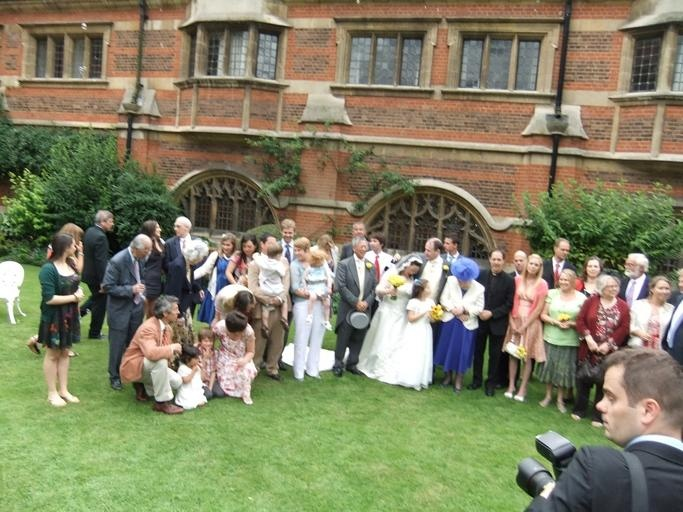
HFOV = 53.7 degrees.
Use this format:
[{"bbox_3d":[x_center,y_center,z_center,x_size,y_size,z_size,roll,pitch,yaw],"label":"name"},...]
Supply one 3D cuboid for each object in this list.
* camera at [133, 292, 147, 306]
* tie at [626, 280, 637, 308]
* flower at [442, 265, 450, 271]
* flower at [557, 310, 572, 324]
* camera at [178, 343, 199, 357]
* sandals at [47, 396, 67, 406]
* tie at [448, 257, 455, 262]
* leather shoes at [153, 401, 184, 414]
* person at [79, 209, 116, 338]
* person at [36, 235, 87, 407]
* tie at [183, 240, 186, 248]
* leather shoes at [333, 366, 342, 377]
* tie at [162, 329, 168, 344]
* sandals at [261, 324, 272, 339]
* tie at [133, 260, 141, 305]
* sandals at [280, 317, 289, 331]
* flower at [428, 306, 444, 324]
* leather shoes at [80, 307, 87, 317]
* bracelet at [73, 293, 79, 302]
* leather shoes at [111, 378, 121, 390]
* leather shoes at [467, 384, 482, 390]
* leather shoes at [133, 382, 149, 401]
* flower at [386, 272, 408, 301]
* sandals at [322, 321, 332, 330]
[{"bbox_3d":[-3.265,0.687,10.872,0.075,0.171,0.195,2,-38,36],"label":"camera"},{"bbox_3d":[5.005,0.623,11.634,0.167,0.406,0.252,5,4,28],"label":"tie"},{"bbox_3d":[1.928,0.234,12.359,0.083,0.053,0.090,-5,41,-13],"label":"flower"},{"bbox_3d":[3.797,1.046,11.473,0.158,0.073,0.164,-8,15,-26],"label":"flower"},{"bbox_3d":[-2.385,1.497,10.625,0.270,0.195,0.178,3,3,-12],"label":"camera"},{"bbox_3d":[-4.263,2.176,10.149,0.302,0.151,0.112,-2,23,25],"label":"sandals"},{"bbox_3d":[2.048,0.056,12.534,0.090,0.104,0.036,-5,-23,20],"label":"tie"},{"bbox_3d":[-2.643,2.326,10.252,0.476,0.241,0.184,3,7,-4],"label":"leather shoes"},{"bbox_3d":[-4.582,0.387,12.713,0.836,2.512,0.752,5,11,-15],"label":"person"},{"bbox_3d":[-4.232,0.960,10.120,0.598,2.569,0.410,1,4,-30],"label":"person"},{"bbox_3d":[-2.855,-0.214,12.236,0.073,0.124,0.029,1,-5,13],"label":"tie"},{"bbox_3d":[-0.076,2.141,12.353,0.235,0.160,0.164,10,-18,-6],"label":"leather shoes"},{"bbox_3d":[-2.714,1.241,10.355,0.062,0.238,0.142,4,4,15],"label":"tie"},{"bbox_3d":[-1.282,1.325,11.463,0.088,0.247,0.106,18,47,25],"label":"sandals"},{"bbox_3d":[-3.265,0.425,10.815,0.132,0.709,0.235,3,4,-1],"label":"tie"},{"bbox_3d":[-0.976,1.176,11.632,0.098,0.241,0.105,12,48,17],"label":"sandals"},{"bbox_3d":[1.691,1.039,12.045,0.245,0.297,0.256,6,5,0],"label":"flower"},{"bbox_3d":[-4.895,1.069,12.789,0.131,0.200,0.164,-7,-2,-9],"label":"leather shoes"},{"bbox_3d":[-3.984,0.631,10.101,0.039,0.096,0.065,2,-39,-16],"label":"bracelet"},{"bbox_3d":[-3.609,2.061,10.803,0.091,0.102,0.212,-2,9,-40],"label":"leather shoes"},{"bbox_3d":[2.431,2.394,12.298,0.243,0.122,0.098,4,6,-9],"label":"leather shoes"},{"bbox_3d":[-3.160,2.124,10.570,0.282,0.281,0.151,5,4,24],"label":"leather shoes"},{"bbox_3d":[0.987,0.545,12.066,0.311,0.411,0.348,3,0,-2],"label":"flower"},{"bbox_3d":[-0.280,1.286,12.276,0.148,0.157,0.333,0,-1,-25],"label":"sandals"}]
